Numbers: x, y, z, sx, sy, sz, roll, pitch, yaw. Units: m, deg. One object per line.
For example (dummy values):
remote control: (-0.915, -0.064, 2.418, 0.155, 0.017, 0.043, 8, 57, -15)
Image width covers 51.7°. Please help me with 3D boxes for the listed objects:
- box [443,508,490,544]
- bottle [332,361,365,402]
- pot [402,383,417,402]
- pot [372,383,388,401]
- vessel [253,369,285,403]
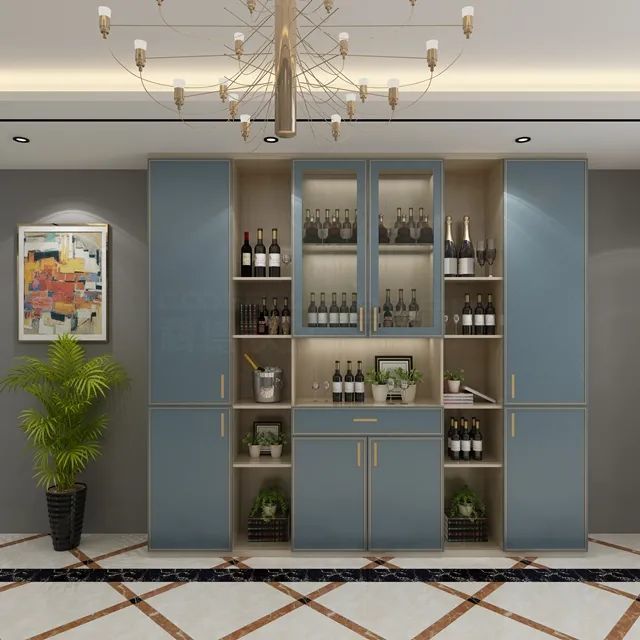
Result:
box: (1.037, 1.450, 4.653, 0.197, 0.134, 0.204, 1, -5, -4)
bottle: (0.202, 0.439, 4.679, 0.236, 0.348, 0.086, 0, -5, 6)
pot: (0.606, 0.500, 4.625, 0.105, 0.137, 0.112, 0, -5, 0)
pot: (0.417, 0.502, 4.654, 0.107, 0.107, 0.105, 1, -3, 0)
vessel: (-0.367, 0.471, 4.673, 0.176, 0.244, 0.230, 0, -4, -4)
